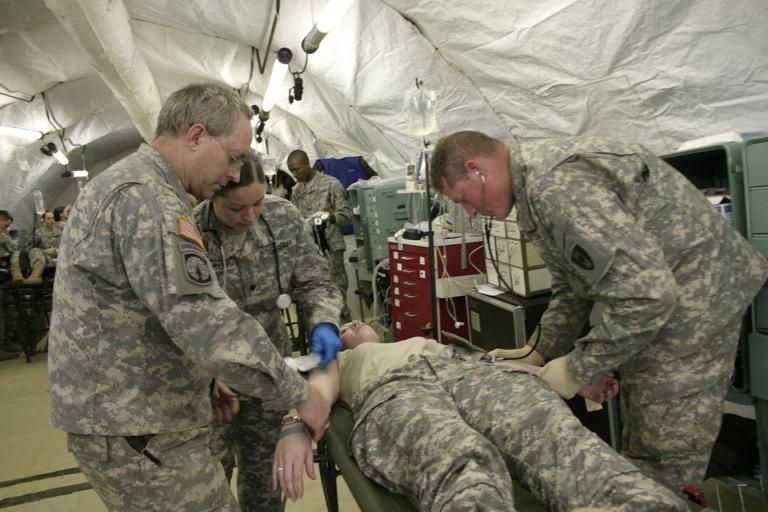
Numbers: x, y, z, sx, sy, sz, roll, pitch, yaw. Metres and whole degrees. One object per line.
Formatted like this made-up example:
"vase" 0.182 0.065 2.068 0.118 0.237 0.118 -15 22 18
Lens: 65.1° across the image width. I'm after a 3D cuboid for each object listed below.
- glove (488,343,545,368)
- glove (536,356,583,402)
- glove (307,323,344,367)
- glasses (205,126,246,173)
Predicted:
"glove" 0.722 0.494 3.212 0.282 0.137 0.181 4 0 11
"glove" 0.806 0.575 2.878 0.207 0.221 0.172 -21 48 -8
"glove" -0.307 0.455 3.083 0.168 0.217 0.099 -5 -12 43
"glasses" -0.668 -0.451 2.540 0.041 0.131 0.130 -28 -10 15
